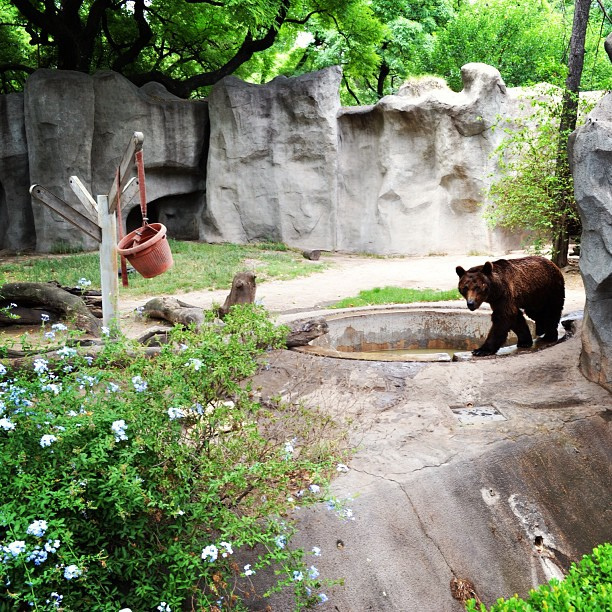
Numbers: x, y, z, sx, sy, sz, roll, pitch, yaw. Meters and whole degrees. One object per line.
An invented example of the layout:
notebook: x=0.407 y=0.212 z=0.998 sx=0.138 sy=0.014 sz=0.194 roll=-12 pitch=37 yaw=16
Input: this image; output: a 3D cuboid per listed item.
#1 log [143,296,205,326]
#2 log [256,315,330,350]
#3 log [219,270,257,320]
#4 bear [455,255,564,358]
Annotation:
log: x=-1.855 y=0.089 z=7.726 sx=0.488 sy=0.128 sz=0.383 roll=20 pitch=18 yaw=33
log: x=-0.010 y=0.347 z=6.736 sx=0.210 sy=0.340 sz=0.705 roll=11 pitch=17 yaw=42
log: x=-0.825 y=-0.157 z=6.855 sx=0.635 sy=0.648 sz=0.532 roll=-1 pitch=10 yaw=-15
bear: x=2.448 y=-0.021 z=6.718 sx=1.680 sy=1.010 sz=0.698 roll=-6 pitch=3 yaw=-34
